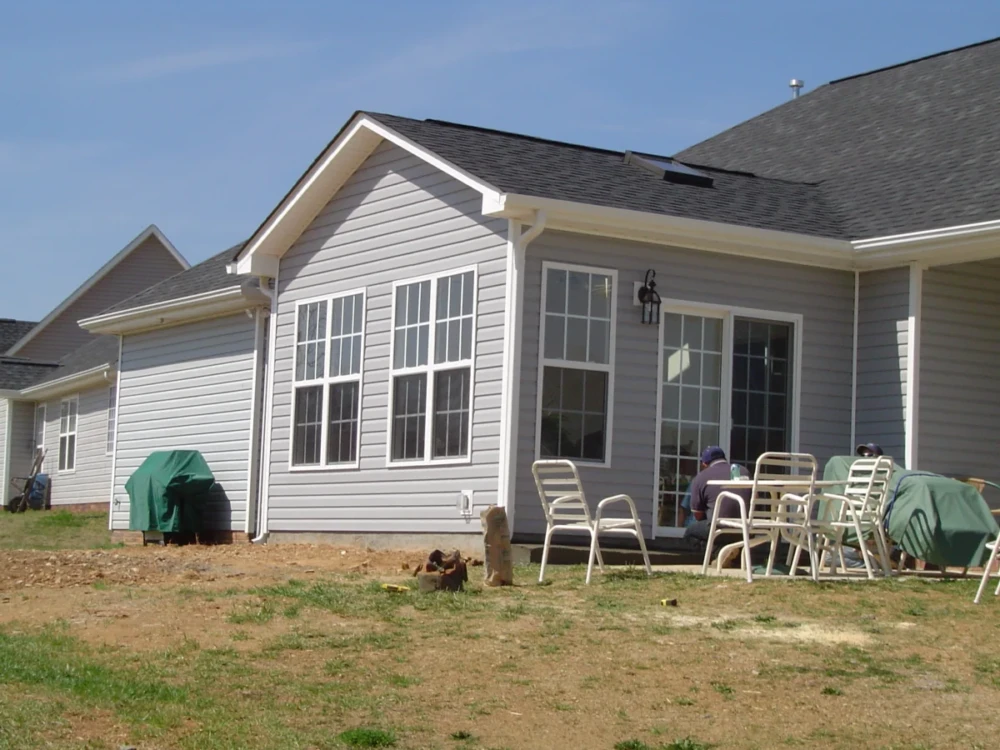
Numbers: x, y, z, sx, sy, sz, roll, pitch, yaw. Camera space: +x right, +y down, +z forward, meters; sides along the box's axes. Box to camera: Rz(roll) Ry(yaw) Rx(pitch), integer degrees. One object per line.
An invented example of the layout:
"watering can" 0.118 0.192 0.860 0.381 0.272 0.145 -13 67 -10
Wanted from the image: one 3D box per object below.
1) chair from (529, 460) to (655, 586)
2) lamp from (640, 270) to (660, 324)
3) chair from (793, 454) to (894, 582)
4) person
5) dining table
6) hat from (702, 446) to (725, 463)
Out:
"chair" 1.002 1.590 12.411 1.049 1.225 0.909 1 -6 -39
"lamp" 1.884 -0.979 14.168 0.317 0.683 0.155 -4 8 -33
"chair" 3.742 1.488 12.097 0.848 0.905 0.787 -5 10 -1
"person" 2.527 1.502 12.985 0.839 1.306 0.760 -4 -5 24
"dining table" 3.068 1.649 12.296 1.638 0.974 1.433 6 -7 -15
"hat" 2.473 0.920 13.084 0.178 0.127 0.235 0 7 7
